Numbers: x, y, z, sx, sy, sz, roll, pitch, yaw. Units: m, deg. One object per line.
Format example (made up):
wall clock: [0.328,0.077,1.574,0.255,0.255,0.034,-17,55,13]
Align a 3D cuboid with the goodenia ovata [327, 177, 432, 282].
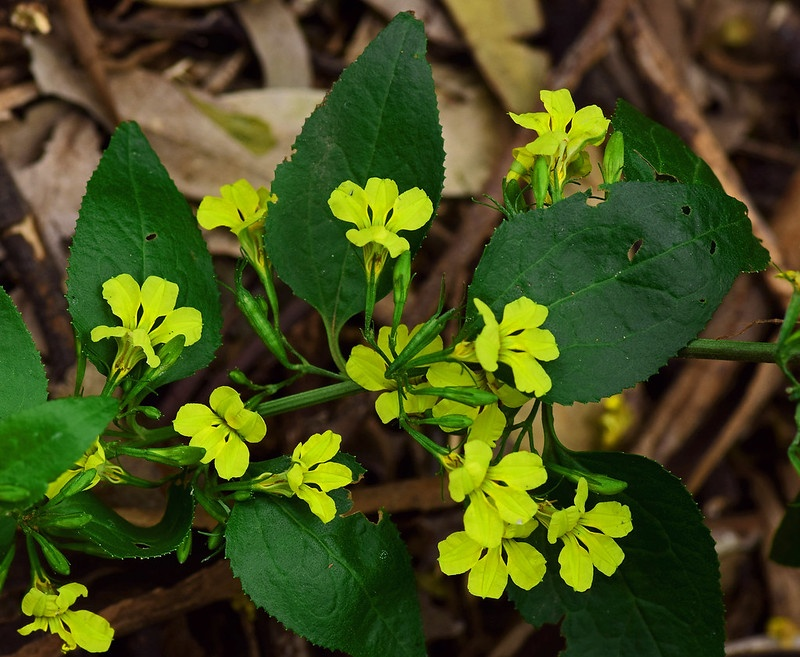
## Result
goodenia ovata: [-0.036,-0.134,1.088,0.127,0.128,0.091,10,28,3]

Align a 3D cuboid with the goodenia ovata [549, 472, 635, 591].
goodenia ovata: [0.249,0.273,1.094,0.138,0.153,0.053,-18,7,2]

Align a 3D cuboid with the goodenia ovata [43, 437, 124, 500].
goodenia ovata: [-0.415,0.185,1.063,0.087,0.095,0.065,1,1,-5]

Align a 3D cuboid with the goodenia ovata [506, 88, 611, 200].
goodenia ovata: [0.240,-0.283,1.164,0.151,0.103,0.128,-39,34,-26]

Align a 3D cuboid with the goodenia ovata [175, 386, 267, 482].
goodenia ovata: [-0.245,0.149,1.076,0.114,0.144,0.082,20,41,5]

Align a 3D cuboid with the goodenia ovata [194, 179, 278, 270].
goodenia ovata: [-0.248,-0.162,1.194,0.109,0.103,0.094,5,42,-13]

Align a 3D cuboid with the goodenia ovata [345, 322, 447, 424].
goodenia ovata: [-0.003,0.052,1.095,0.112,0.132,0.105,-14,49,-30]

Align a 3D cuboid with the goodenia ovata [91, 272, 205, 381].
goodenia ovata: [-0.356,0.006,1.107,0.140,0.131,0.095,-12,59,-3]
